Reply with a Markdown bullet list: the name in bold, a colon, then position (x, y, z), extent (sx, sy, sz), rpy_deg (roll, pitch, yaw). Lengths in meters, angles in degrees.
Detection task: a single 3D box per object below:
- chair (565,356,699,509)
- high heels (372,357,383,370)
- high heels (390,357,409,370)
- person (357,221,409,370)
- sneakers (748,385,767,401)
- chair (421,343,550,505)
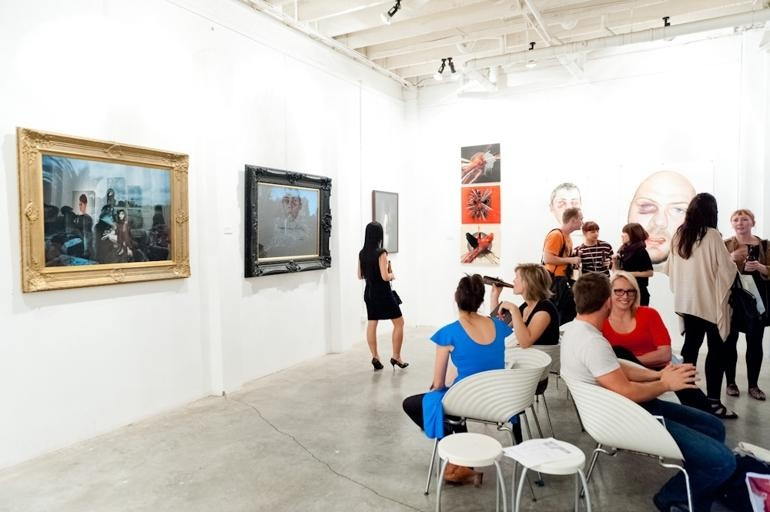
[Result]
- **chair**: position (2.171, 1.464, 4.748), extent (1.010, 0.946, 1.216), rpy_deg (-7, -11, 25)
- **high heels**: position (-0.119, 1.626, 8.061), extent (0.184, 0.182, 0.384), rpy_deg (-1, 12, -4)
- **high heels**: position (0.258, 1.632, 7.966), extent (0.346, 0.193, 0.118), rpy_deg (-4, 0, 2)
- **person**: position (-0.014, 0.604, 8.027), extent (0.668, 2.260, 0.763), rpy_deg (-3, 12, -13)
- **sneakers**: position (4.789, 1.745, 6.616), extent (0.116, 0.089, 0.224), rpy_deg (-23, -7, 3)
- **chair**: position (0.989, 1.426, 5.216), extent (1.246, 1.656, 1.357), rpy_deg (0, -8, 18)
